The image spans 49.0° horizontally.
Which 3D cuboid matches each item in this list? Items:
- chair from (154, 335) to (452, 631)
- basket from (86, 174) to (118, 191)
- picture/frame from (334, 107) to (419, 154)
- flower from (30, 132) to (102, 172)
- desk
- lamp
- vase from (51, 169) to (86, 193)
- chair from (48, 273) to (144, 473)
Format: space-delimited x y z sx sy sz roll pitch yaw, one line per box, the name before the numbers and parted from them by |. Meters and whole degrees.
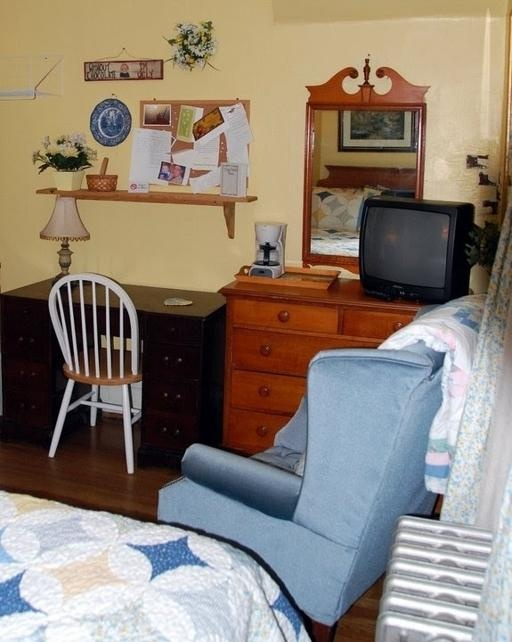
chair | 0.222 0.324 1.979 0.850 0.972 0.803 9 14 28
basket | -0.844 -0.773 3.078 0.120 0.059 0.115 9 18 24
picture/frame | 0.605 -0.939 2.753 0.284 0.147 0.011 2 8 8
flower | -1.056 -0.911 3.116 0.306 0.206 0.291 7 10 22
desk | -0.703 0.263 2.798 1.014 0.670 0.427 4 10 17
lamp | -1.077 -0.459 3.169 0.243 0.343 0.355 10 4 -16
vase | -1.028 -0.767 3.076 0.131 0.101 0.152 4 5 39
chair | -0.819 0.246 2.901 0.551 0.758 0.892 10 4 -11
